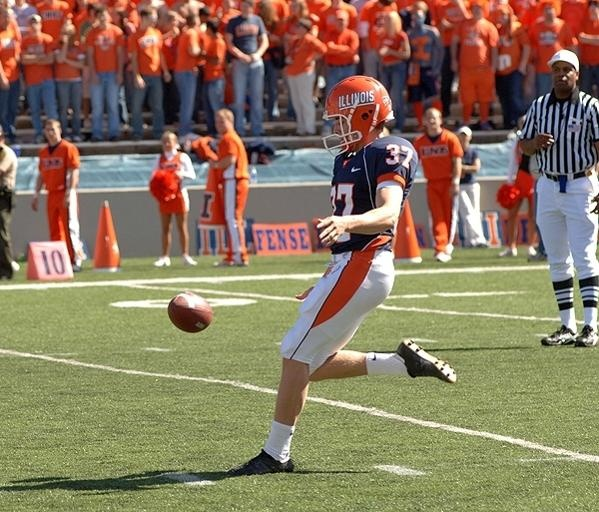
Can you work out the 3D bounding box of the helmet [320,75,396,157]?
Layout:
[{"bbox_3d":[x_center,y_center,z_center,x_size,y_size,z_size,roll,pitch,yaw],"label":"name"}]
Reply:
[{"bbox_3d":[0.348,-0.850,8.301,0.459,0.454,0.354,-1,0,4],"label":"helmet"}]

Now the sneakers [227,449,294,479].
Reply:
[{"bbox_3d":[-0.214,1.160,7.788,0.381,0.131,0.072,-3,3,-18],"label":"sneakers"}]

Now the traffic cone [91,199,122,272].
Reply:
[{"bbox_3d":[-2.413,-0.249,17.457,0.311,0.871,0.369,-2,3,-10],"label":"traffic cone"}]

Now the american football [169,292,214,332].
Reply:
[{"bbox_3d":[-0.700,0.339,8.877,0.229,0.257,0.300,0,9,-10],"label":"american football"}]

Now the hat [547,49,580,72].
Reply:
[{"bbox_3d":[2.027,-1.518,10.821,0.215,0.177,0.457,-1,4,13],"label":"hat"}]
